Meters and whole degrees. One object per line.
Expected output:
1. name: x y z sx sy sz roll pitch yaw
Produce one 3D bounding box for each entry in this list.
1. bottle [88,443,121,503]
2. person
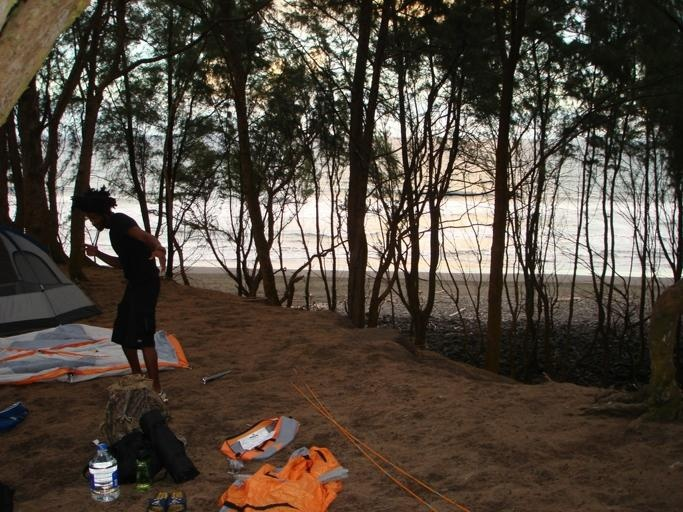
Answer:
1. bottle: -2.503 2.301 6.854 0.291 0.575 0.224 -1 -1 33
2. person: -2.654 0.505 8.038 1.089 2.694 0.614 0 -1 1
